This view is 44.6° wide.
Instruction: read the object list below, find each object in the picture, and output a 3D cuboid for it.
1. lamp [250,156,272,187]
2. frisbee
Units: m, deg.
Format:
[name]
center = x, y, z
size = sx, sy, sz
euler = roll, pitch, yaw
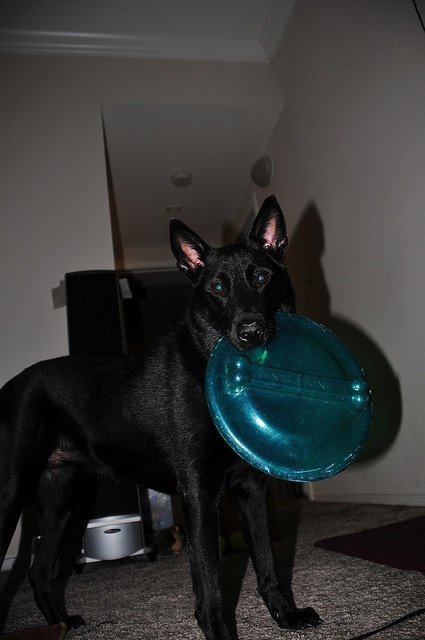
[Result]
[lamp]
center = 0.512, -1.516, 5.382
size = 0.207, 0.260, 0.061
euler = 18, 46, 35
[frisbee]
center = 0.209, 0.218, 1.489
size = 0.465, 0.325, 0.380
euler = -1, 33, -15
